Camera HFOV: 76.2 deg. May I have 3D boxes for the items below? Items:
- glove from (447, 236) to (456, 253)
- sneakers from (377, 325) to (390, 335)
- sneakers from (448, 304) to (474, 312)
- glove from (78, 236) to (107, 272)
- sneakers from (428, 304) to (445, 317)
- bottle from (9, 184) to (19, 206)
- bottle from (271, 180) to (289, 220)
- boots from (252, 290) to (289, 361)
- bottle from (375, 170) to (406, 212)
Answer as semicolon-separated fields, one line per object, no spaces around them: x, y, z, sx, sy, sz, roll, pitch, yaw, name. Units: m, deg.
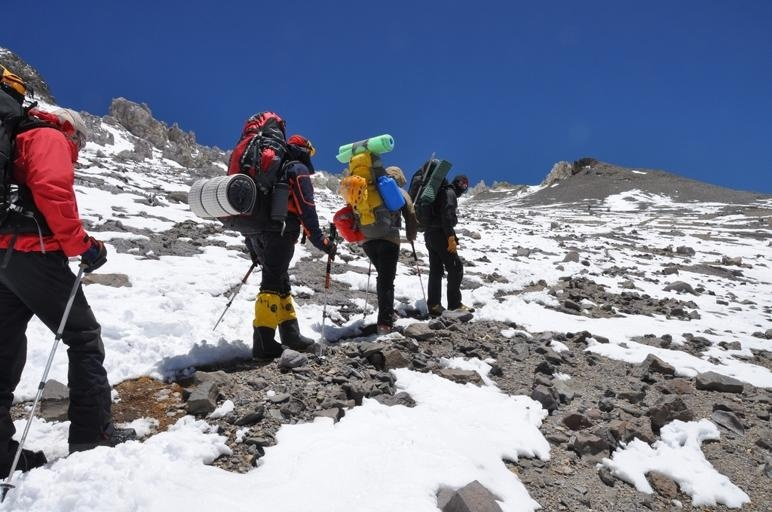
1.313;-0.217;9.708;0.197;0.339;0.090;-5;15;-38;glove
-0.027;1.270;8.400;0.238;0.123;0.266;3;10;-3;sneakers
1.476;1.059;9.725;0.458;0.185;0.158;-11;-9;27;sneakers
-3.373;0.008;5.703;0.397;0.182;0.303;-47;19;-9;glove
1.013;1.094;9.817;0.292;0.179;0.425;4;10;3;sneakers
-4.050;-0.661;5.351;0.107;0.208;0.068;-5;14;-35;bottle
-1.587;-0.805;7.348;0.240;0.535;0.208;1;12;-14;bottle
-1.792;1.070;7.471;0.449;0.977;0.486;1;12;-14;boots
0.094;-1.074;8.527;0.501;0.664;0.481;3;11;-1;bottle
